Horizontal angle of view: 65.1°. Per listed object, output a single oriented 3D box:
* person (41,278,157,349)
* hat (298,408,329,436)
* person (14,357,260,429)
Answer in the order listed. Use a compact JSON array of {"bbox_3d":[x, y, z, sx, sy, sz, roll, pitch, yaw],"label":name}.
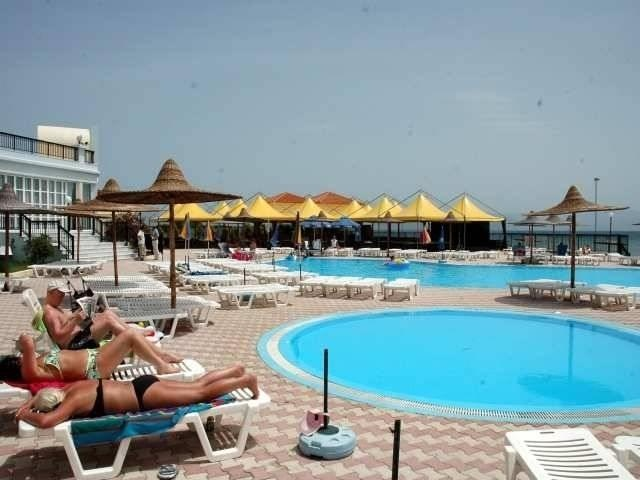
[{"bbox_3d":[-2.622,0.909,5.929,1.289,0.776,0.543,0,0,-33],"label":"person"},{"bbox_3d":[-0.071,1.855,5.145,0.277,0.276,0.197,14,-18,-8],"label":"hat"},{"bbox_3d":[-1.632,1.420,4.578,1.776,0.286,0.678,4,-2,-13],"label":"person"}]
